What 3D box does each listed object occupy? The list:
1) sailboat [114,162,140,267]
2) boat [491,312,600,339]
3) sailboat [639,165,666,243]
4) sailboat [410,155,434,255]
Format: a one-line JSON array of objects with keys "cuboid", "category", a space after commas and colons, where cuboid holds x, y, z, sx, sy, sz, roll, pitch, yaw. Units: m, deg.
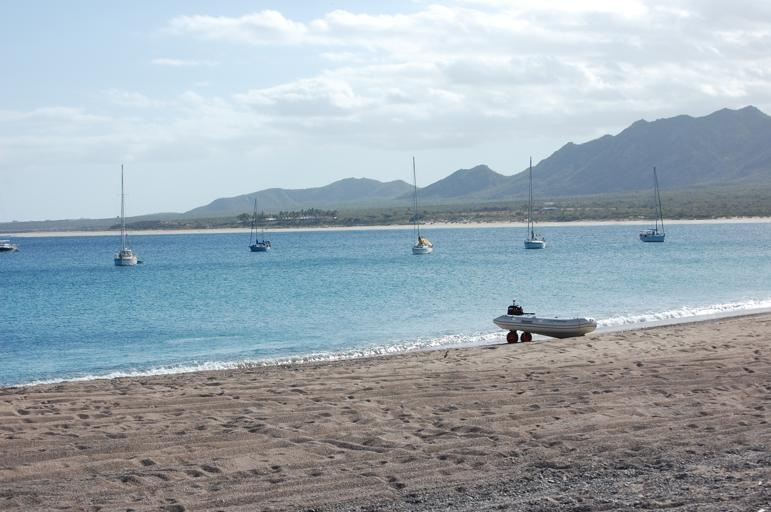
[{"cuboid": [-33.927, -4.989, 103.495, 3.760, 11.350, 11.352, -1, 9, -14], "category": "sailboat"}, {"cuboid": [7.072, 3.065, 35.746, 4.047, 1.112, 1.036, -3, 0, 17], "category": "boat"}, {"cuboid": [44.877, -8.505, 135.215, 4.222, 12.301, 10.373, -1, 2, 0], "category": "sailboat"}, {"cuboid": [4.002, -6.698, 111.358, 3.903, 13.379, 7.630, -2, -3, 11], "category": "sailboat"}]
